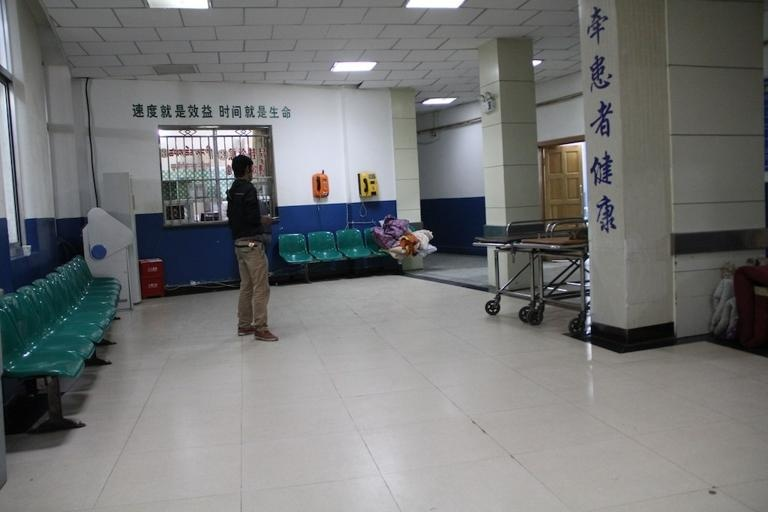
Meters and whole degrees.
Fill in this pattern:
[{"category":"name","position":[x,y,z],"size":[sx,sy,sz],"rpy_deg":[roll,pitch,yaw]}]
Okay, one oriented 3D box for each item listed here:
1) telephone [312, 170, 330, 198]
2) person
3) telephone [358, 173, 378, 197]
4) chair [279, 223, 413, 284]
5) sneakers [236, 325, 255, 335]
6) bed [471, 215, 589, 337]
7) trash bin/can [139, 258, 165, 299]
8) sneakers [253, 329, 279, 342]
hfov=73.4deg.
[{"category":"telephone","position":[-1.309,-1.415,10.595],"size":[0.337,0.525,0.215],"rpy_deg":[-5,12,-10]},{"category":"person","position":[-1.573,-0.075,6.150],"size":[0.531,2.212,0.612],"rpy_deg":[-6,12,-16]},{"category":"telephone","position":[-0.357,-1.487,10.807],"size":[0.487,0.611,0.316],"rpy_deg":[-2,4,-30]},{"category":"chair","position":[-0.923,-0.023,10.582],"size":[2.392,0.995,0.768],"rpy_deg":[-7,12,-19]},{"category":"sneakers","position":[-1.717,0.922,6.415],"size":[0.238,0.097,0.093],"rpy_deg":[-1,1,-12]},{"category":"bed","position":[2.226,0.198,6.869],"size":[2.205,1.455,1.537],"rpy_deg":[-3,3,-42]},{"category":"trash bin/can","position":[-4.162,0.409,9.238],"size":[0.406,0.646,0.256],"rpy_deg":[-8,13,-25]},{"category":"sneakers","position":[-1.403,0.946,6.198],"size":[0.320,0.130,0.125],"rpy_deg":[3,3,14]}]
